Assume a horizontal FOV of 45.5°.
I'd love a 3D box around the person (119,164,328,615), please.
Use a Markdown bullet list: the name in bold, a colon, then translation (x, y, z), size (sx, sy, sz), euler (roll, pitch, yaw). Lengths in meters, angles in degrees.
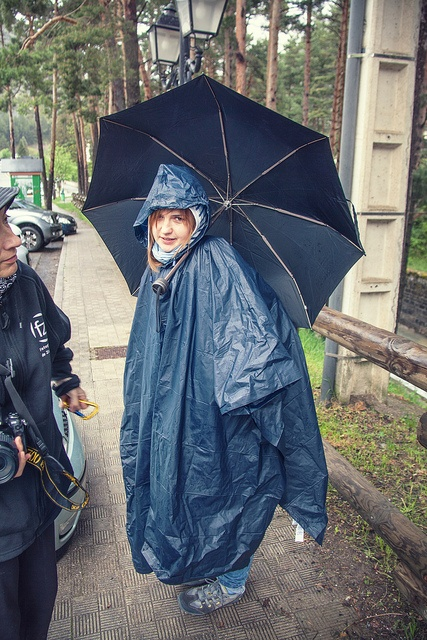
- **person**: translation (0.001, 0.458, 2.002), size (0.903, 2.063, 0.564), euler (5, 13, 15)
